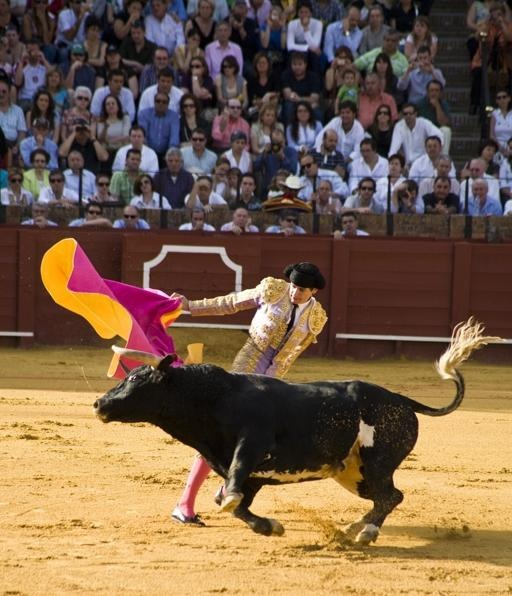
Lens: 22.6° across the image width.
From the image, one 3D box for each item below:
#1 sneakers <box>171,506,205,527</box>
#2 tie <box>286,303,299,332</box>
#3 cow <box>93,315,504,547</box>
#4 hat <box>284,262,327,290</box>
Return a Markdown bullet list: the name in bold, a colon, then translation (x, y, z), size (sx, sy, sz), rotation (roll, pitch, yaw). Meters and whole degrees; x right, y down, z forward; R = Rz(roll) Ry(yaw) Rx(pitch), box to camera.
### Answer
- **sneakers**: translation (-0.347, 1.123, 6.536), size (0.193, 0.069, 0.070), rotation (18, 11, 6)
- **tie**: translation (0.195, 0.101, 6.670), size (0.028, 0.196, 0.023), rotation (13, -9, -4)
- **cow**: translation (0.196, 0.647, 6.227), size (2.020, 1.143, 0.510), rotation (3, -10, -9)
- **hat**: translation (0.253, -0.113, 6.603), size (0.199, 0.138, 0.241), rotation (2, 7, 0)
